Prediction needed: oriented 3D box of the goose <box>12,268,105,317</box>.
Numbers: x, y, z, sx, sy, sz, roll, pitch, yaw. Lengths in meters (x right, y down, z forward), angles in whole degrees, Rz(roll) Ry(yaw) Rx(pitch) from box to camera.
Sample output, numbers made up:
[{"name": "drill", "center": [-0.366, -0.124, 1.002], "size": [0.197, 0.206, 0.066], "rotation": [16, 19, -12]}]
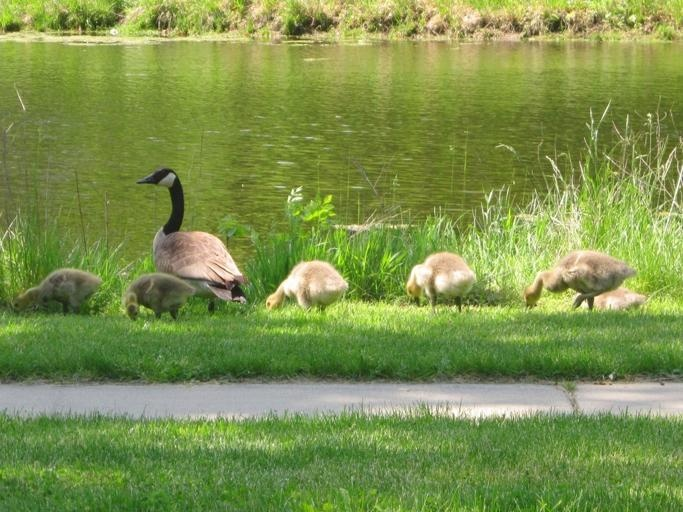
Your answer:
[{"name": "goose", "center": [-4.374, 0.513, 20.519], "size": [1.133, 0.667, 0.413], "rotation": [-9, 52, 5]}]

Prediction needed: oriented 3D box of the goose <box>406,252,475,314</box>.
[{"name": "goose", "center": [1.532, 0.446, 20.775], "size": [0.735, 0.870, 1.436], "rotation": [4, -15, -32]}]

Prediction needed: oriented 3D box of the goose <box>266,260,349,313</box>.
[{"name": "goose", "center": [-0.508, 0.453, 20.585], "size": [1.512, 0.800, 0.428], "rotation": [8, 11, 43]}]
